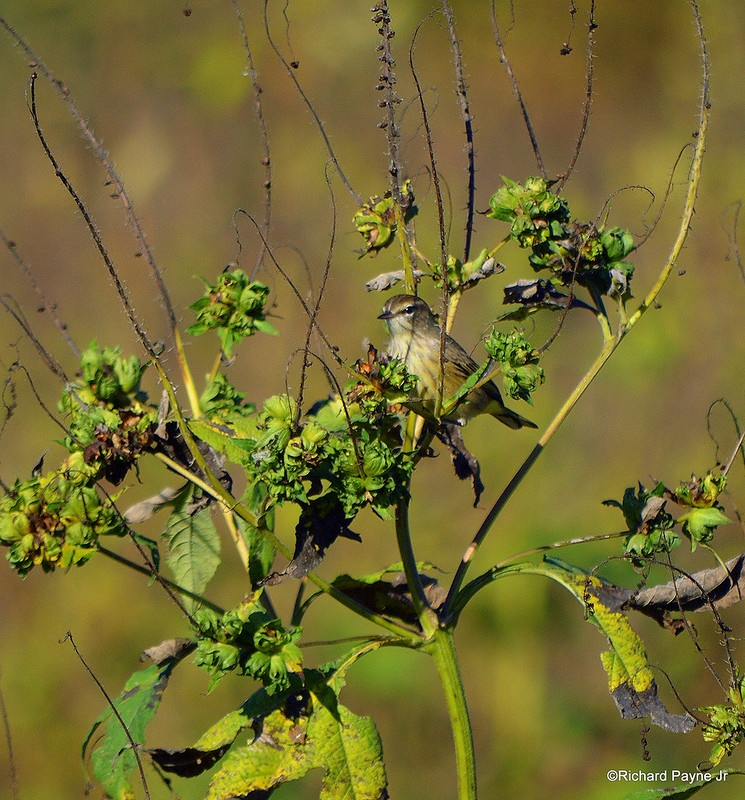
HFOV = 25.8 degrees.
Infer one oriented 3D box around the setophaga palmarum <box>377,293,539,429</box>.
[{"bbox_3d":[0.356,-0.124,6.880,0.819,0.575,0.294,10,-14,-32],"label":"setophaga palmarum"}]
